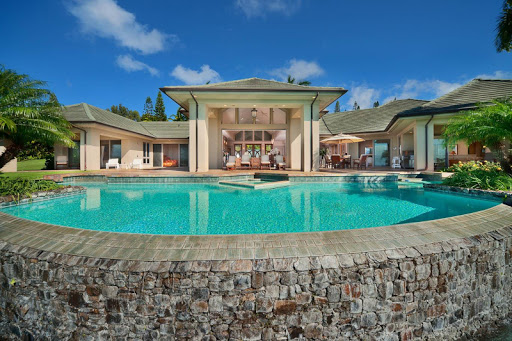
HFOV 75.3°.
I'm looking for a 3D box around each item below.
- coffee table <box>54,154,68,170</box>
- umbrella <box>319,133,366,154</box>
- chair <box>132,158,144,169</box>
[{"bbox_3d":[-15.910,-0.752,27.326,1.378,1.622,0.968,1,1,-28],"label":"coffee table"},{"bbox_3d":[6.918,-2.473,26.137,2.242,0.923,3.479,4,11,21],"label":"umbrella"},{"bbox_3d":[-9.691,-0.577,26.973,1.072,1.006,0.899,0,3,-1],"label":"chair"}]
